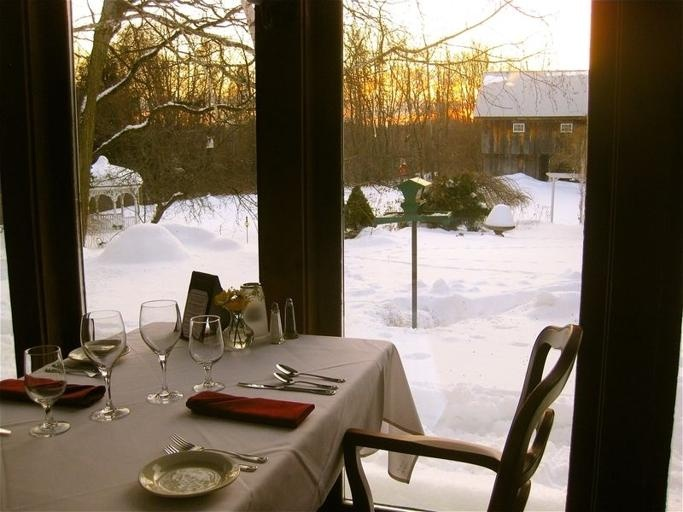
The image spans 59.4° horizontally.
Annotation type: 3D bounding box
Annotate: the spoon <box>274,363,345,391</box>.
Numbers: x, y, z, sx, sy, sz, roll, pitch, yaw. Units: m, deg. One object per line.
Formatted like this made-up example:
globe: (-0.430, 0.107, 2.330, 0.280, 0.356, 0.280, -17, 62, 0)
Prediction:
spoon: (-0.129, 0.440, 2.182, 0.289, 0.058, 0.093, 8, 9, 26)

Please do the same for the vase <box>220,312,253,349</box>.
vase: (-0.423, 0.318, 2.486, 0.107, 0.175, 0.117, -9, -13, 20)

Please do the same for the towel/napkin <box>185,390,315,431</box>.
towel/napkin: (-0.291, 0.486, 1.923, 0.272, 0.052, 0.165, 1, 3, 16)

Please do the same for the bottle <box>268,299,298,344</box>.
bottle: (-0.251, 0.291, 2.619, 0.072, 0.162, 0.150, 0, 3, 34)

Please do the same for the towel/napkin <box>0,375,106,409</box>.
towel/napkin: (-0.970, 0.456, 2.015, 0.243, 0.042, 0.148, 4, 9, 9)
